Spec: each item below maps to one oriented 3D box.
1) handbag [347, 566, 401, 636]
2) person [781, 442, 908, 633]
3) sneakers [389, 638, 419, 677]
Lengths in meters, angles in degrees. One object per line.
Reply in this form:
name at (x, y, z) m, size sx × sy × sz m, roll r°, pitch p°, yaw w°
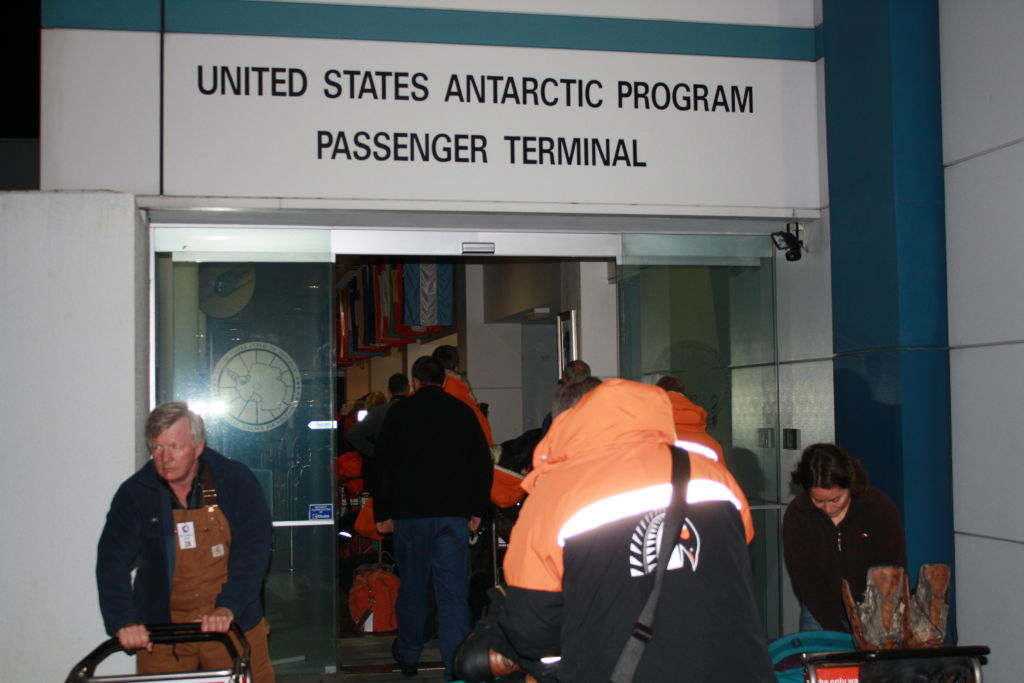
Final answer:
handbag at (-1.171, 2.197, 12.058) m, size 0.386 × 0.587 × 0.212 m, roll 3°, pitch -9°, yaw 0°
person at (2.175, 1.268, 9.251) m, size 0.768 × 1.214 × 0.552 m, roll -2°, pitch -3°, yaw 12°
sneakers at (-0.825, 2.482, 11.079) m, size 0.117 × 0.167 × 0.360 m, roll 1°, pitch 26°, yaw -11°
